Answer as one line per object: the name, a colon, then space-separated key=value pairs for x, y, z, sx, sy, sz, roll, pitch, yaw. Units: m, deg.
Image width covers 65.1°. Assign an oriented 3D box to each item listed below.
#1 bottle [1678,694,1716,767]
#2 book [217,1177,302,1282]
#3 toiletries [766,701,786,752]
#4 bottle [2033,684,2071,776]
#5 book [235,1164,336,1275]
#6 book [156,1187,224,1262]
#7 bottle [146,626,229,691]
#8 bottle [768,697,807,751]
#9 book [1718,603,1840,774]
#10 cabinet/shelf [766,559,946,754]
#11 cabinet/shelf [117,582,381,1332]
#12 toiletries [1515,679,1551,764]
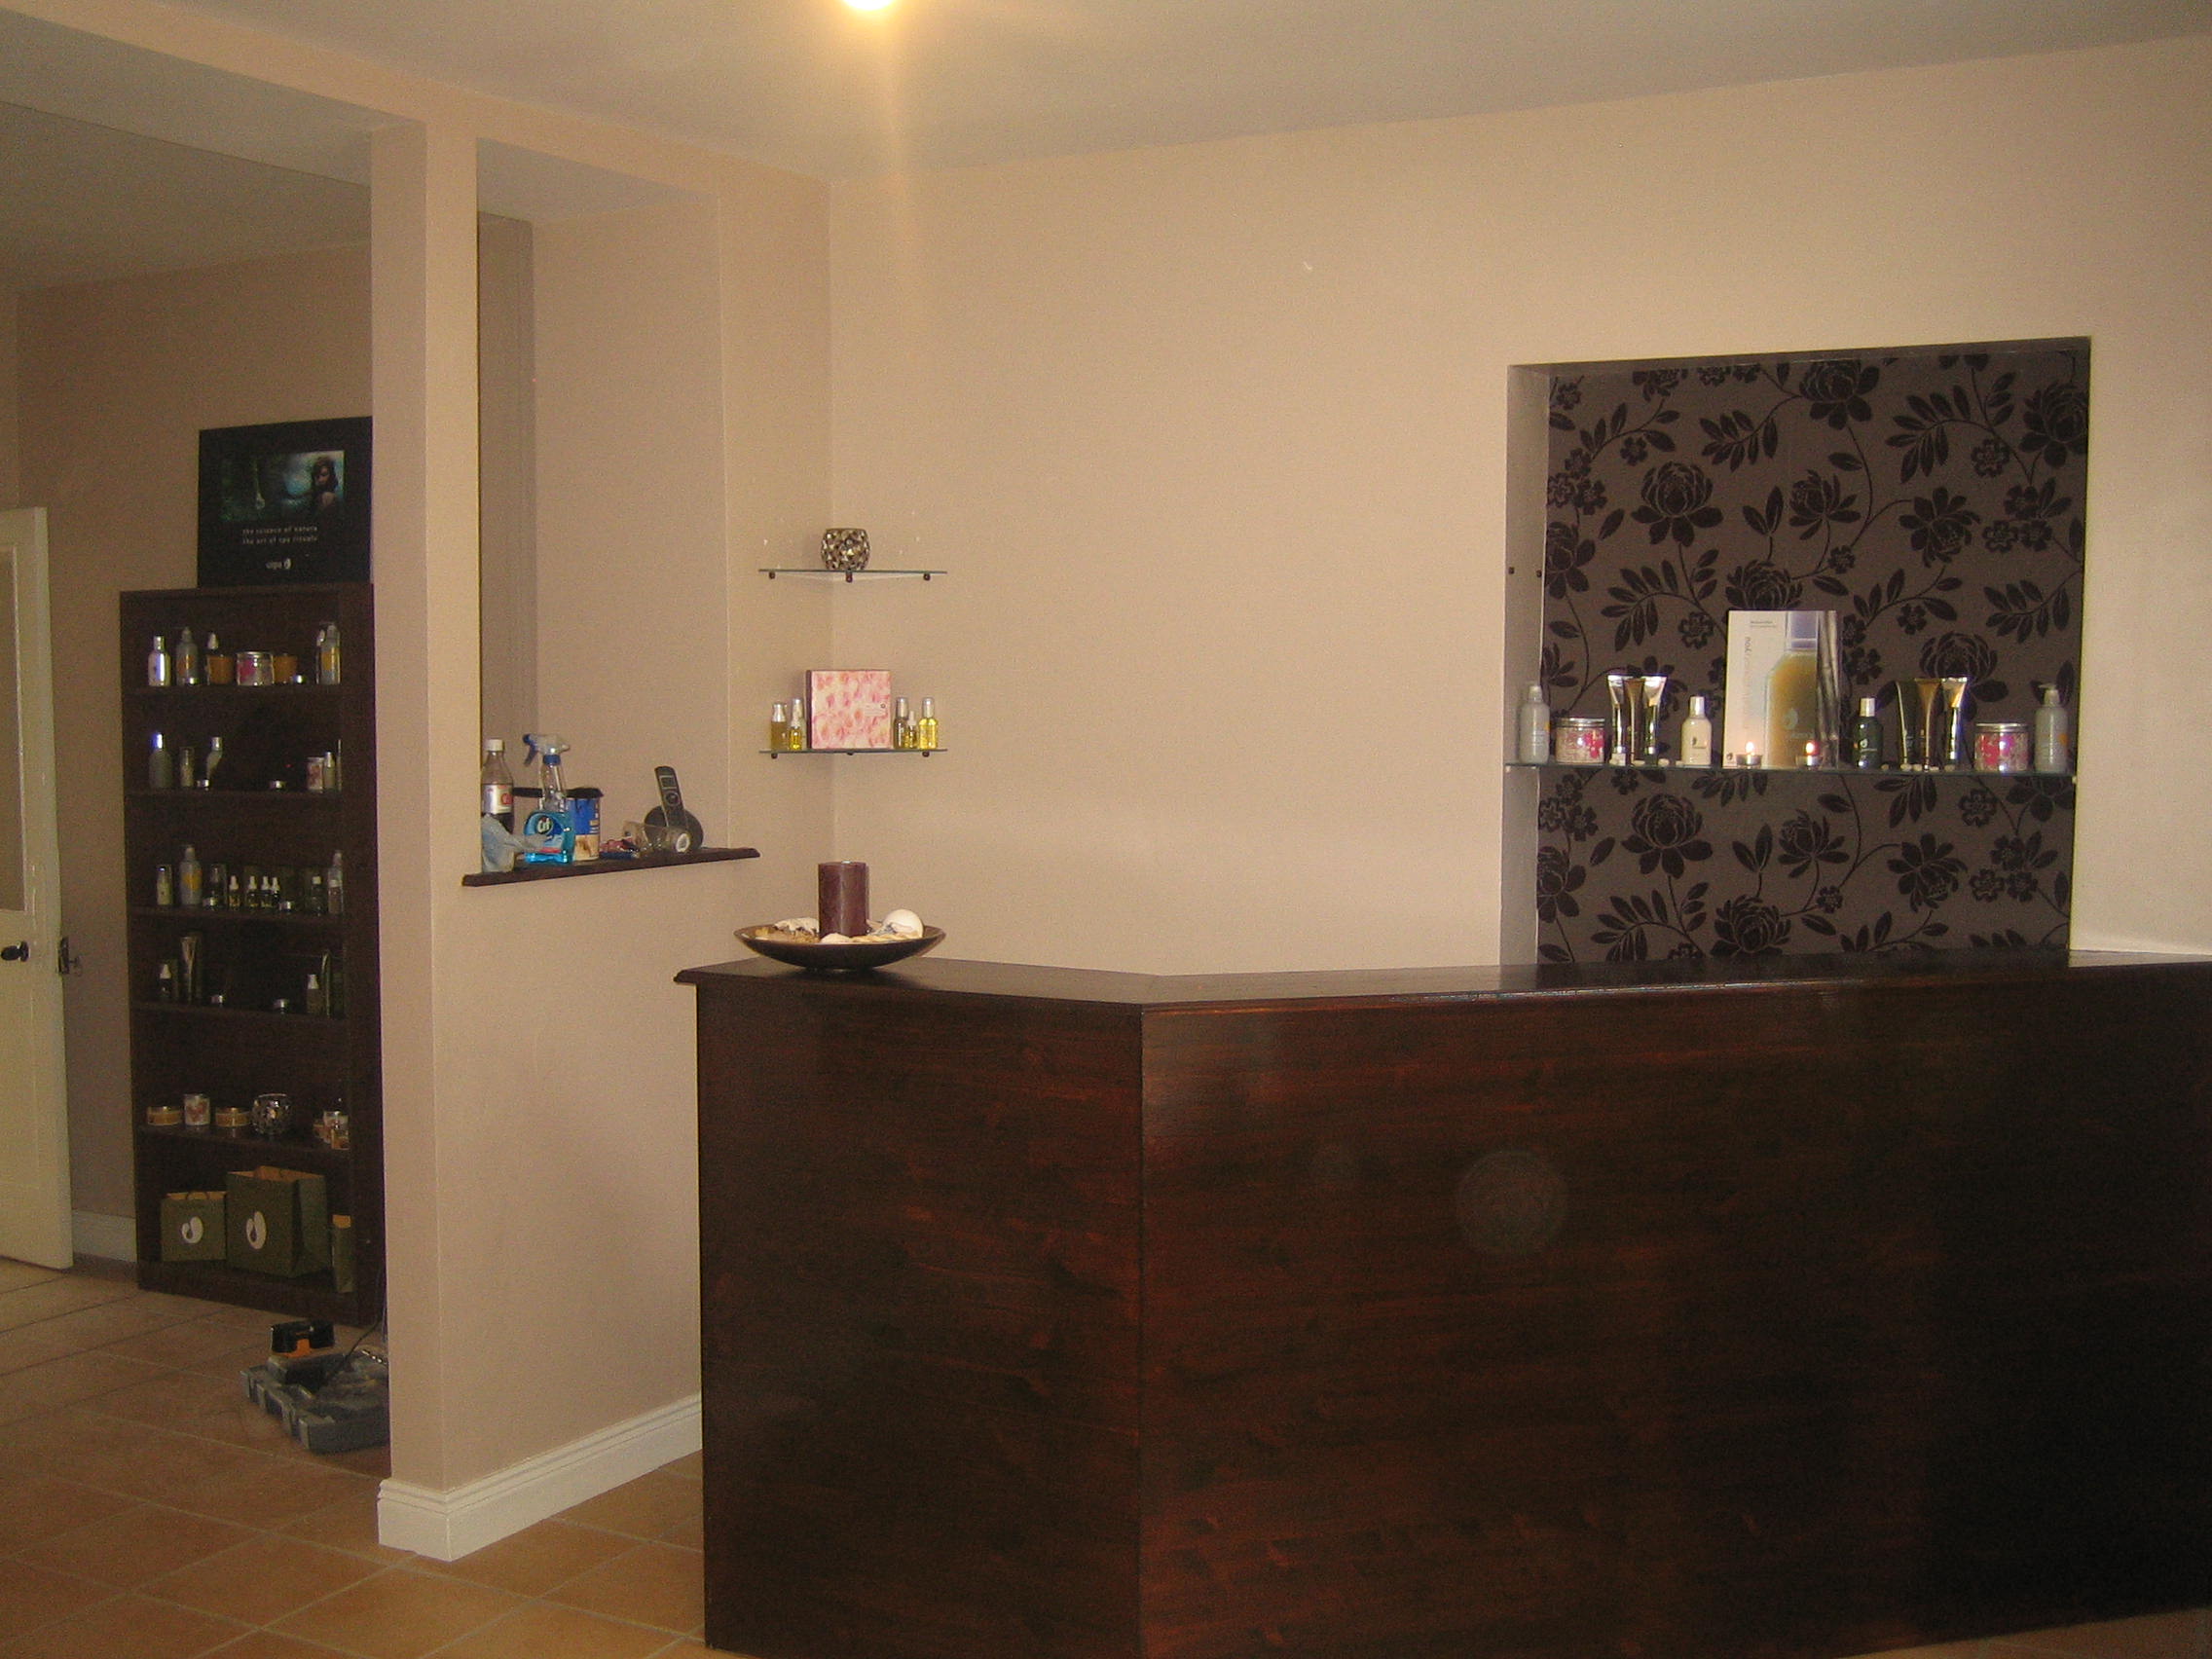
bottle: x=1.586 y=-0.260 z=4.656 sx=0.088 sy=0.179 sz=0.201 roll=-1 pitch=11 yaw=19
book: x=-2.852 y=1.357 z=5.894 sx=0.311 sy=0.309 sz=0.134 roll=6 pitch=10 yaw=30
toiletries: x=-0.958 y=-0.302 z=5.096 sx=0.059 sy=0.130 sz=0.075 roll=-5 pitch=10 yaw=-5
bottle: x=2.395 y=-0.240 z=4.383 sx=0.081 sy=0.177 sz=0.202 roll=1 pitch=11 yaw=28
book: x=-2.847 y=1.349 z=5.951 sx=0.337 sy=0.334 sz=0.137 roll=3 pitch=6 yaw=25
book: x=-3.173 y=1.383 z=6.032 sx=0.224 sy=0.231 sz=0.127 roll=1 pitch=7 yaw=5
bottle: x=-3.156 y=-0.590 z=5.997 sx=0.216 sy=0.208 sz=0.076 roll=1 pitch=6 yaw=4
bottle: x=-0.926 y=-0.311 z=5.094 sx=0.126 sy=0.242 sz=0.127 roll=1 pitch=-3 yaw=0
book: x=1.763 y=-0.365 z=4.524 sx=0.280 sy=0.412 sz=0.244 roll=0 pitch=11 yaw=22
cabinet/shelf: x=-0.773 y=-0.521 z=5.142 sx=0.577 sy=0.523 sz=0.170 roll=-7 pitch=21 yaw=-37
cabinet/shelf: x=-2.871 y=0.392 z=5.884 sx=1.176 sy=2.416 sz=0.589 roll=1 pitch=11 yaw=28
toiletries: x=1.211 y=-0.305 z=4.870 sx=0.095 sy=0.213 sz=0.207 roll=-1 pitch=11 yaw=21
